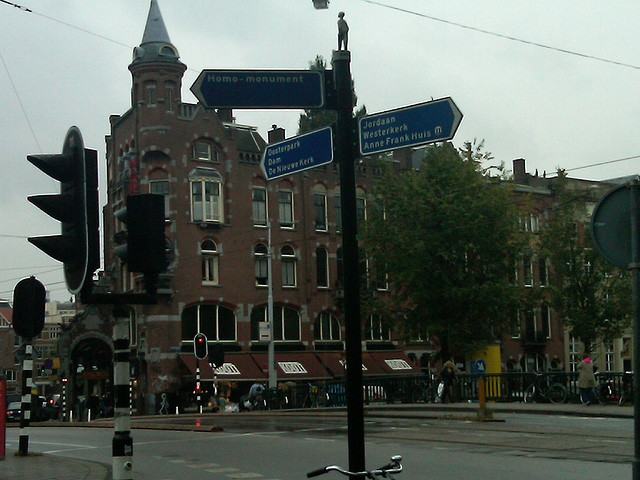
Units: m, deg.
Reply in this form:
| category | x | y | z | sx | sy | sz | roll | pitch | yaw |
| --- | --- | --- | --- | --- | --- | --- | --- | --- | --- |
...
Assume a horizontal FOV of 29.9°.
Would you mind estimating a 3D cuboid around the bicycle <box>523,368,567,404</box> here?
| category | x | y | z | sx | sy | sz | roll | pitch | yaw |
| --- | --- | --- | --- | --- | --- | --- | --- | --- | --- |
| bicycle | 8.576 | 5.663 | 46.214 | 1.848 | 1.252 | 0.970 | -3 | -14 | 24 |

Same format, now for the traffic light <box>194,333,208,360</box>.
| category | x | y | z | sx | sy | sz | roll | pitch | yaw |
| --- | --- | --- | --- | --- | --- | --- | --- | --- | --- |
| traffic light | -4.295 | 3.843 | 43.613 | 0.398 | 0.967 | 0.971 | 0 | -12 | -8 |

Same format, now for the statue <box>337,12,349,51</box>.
| category | x | y | z | sx | sy | sz | roll | pitch | yaw |
| --- | --- | --- | --- | --- | --- | --- | --- | --- | --- |
| statue | 0.495 | -4.297 | 24.852 | 0.181 | 0.757 | 0.194 | 0 | -10 | -8 |

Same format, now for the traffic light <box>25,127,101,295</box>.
| category | x | y | z | sx | sy | sz | roll | pitch | yaw |
| --- | --- | --- | --- | --- | --- | --- | --- | --- | --- |
| traffic light | -5.093 | -0.589 | 24.478 | 1.271 | 3.376 | 0.633 | -3 | -10 | 8 |

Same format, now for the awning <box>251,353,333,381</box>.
| category | x | y | z | sx | sy | sz | roll | pitch | yaw |
| --- | --- | --- | --- | --- | --- | --- | --- | --- | --- |
| awning | -1.275 | 6.698 | 62.734 | 2.863 | 0.930 | 1.594 | 5 | -18 | -32 |

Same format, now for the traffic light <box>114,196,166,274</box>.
| category | x | y | z | sx | sy | sz | roll | pitch | yaw |
| --- | --- | --- | --- | --- | --- | --- | --- | --- | --- |
| traffic light | -3.871 | -0.048 | 25.071 | 0.828 | 1.696 | 0.871 | -15 | -19 | 42 |

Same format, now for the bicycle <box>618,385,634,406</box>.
| category | x | y | z | sx | sy | sz | roll | pitch | yaw |
| --- | --- | --- | --- | --- | --- | --- | --- | --- | --- |
| bicycle | 11.022 | 5.600 | 43.331 | 0.472 | 0.772 | 0.609 | -4 | -11 | 12 |

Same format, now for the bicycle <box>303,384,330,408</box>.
| category | x | y | z | sx | sy | sz | roll | pitch | yaw |
| --- | --- | --- | --- | --- | --- | --- | --- | --- | --- |
| bicycle | -0.113 | 6.665 | 50.785 | 1.343 | 0.775 | 0.205 | -12 | -15 | 41 |

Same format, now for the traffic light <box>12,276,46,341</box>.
| category | x | y | z | sx | sy | sz | roll | pitch | yaw |
| --- | --- | --- | --- | --- | --- | --- | --- | --- | --- |
| traffic light | -7.438 | 1.749 | 30.969 | 0.748 | 1.704 | 0.171 | 3 | 14 | -15 |
